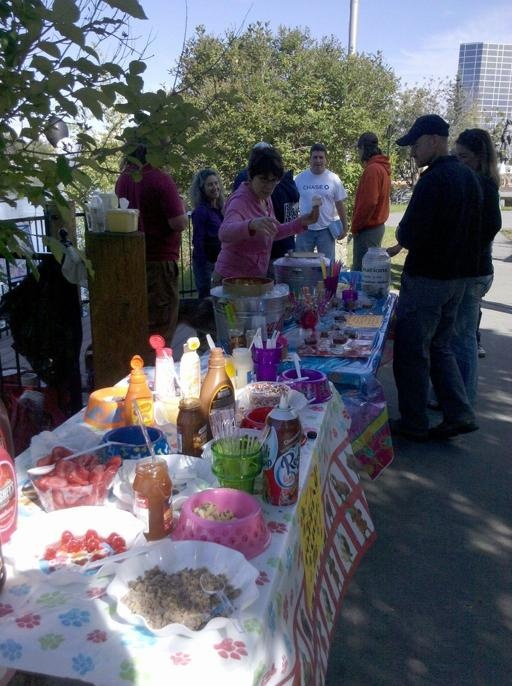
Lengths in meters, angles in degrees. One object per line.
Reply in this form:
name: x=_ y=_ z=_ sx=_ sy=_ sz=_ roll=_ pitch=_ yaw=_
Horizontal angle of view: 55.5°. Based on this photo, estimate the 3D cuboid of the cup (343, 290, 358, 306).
cup: x=0.669 y=-0.325 z=3.530 sx=0.114 sy=0.128 sz=0.113 roll=2 pitch=7 yaw=0

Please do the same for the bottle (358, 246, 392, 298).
bottle: x=0.946 y=-0.560 z=3.835 sx=0.218 sy=0.369 sz=0.217 roll=-2 pitch=21 yaw=1

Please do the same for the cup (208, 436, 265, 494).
cup: x=-0.049 y=0.282 z=1.138 sx=0.132 sy=0.136 sz=0.129 roll=-1 pitch=4 yaw=0

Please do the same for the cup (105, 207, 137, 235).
cup: x=-0.708 y=-0.642 z=2.564 sx=0.159 sy=0.134 sz=0.163 roll=1 pitch=11 yaw=0

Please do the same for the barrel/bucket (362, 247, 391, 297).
barrel/bucket: x=0.939 y=-0.557 z=3.846 sx=0.280 sy=0.379 sz=0.273 roll=-2 pitch=12 yaw=0

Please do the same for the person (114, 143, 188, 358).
person: x=-0.745 y=-0.600 z=3.695 sx=0.441 sy=1.362 sz=0.545 roll=-5 pitch=13 yaw=-27

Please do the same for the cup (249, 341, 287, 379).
cup: x=0.052 y=0.072 z=2.010 sx=0.138 sy=0.153 sz=0.140 roll=0 pitch=4 yaw=0

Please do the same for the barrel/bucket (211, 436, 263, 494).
barrel/bucket: x=-0.053 y=0.269 z=1.166 sx=0.132 sy=0.136 sz=0.129 roll=-1 pitch=6 yaw=0

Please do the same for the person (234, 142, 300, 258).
person: x=0.166 y=-1.427 z=5.327 sx=0.553 sy=0.970 sz=0.892 roll=5 pitch=-23 yaw=7

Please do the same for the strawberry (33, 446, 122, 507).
strawberry: x=-0.404 y=0.294 z=1.145 sx=0.132 sy=0.065 sz=0.141 roll=-2 pitch=4 yaw=5

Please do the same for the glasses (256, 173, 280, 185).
glasses: x=0.068 y=-1.029 z=3.088 sx=0.168 sy=0.086 sz=0.147 roll=0 pitch=11 yaw=-6

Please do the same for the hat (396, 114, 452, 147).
hat: x=1.174 y=-1.512 z=3.469 sx=0.368 sy=0.205 sz=0.299 roll=8 pitch=13 yaw=34

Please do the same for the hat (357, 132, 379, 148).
hat: x=1.447 y=-2.656 z=6.340 sx=0.202 sy=0.159 sz=0.257 roll=-2 pitch=24 yaw=-3

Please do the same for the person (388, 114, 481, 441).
person: x=1.283 y=-0.274 z=3.456 sx=0.597 sy=2.015 sz=0.322 roll=-1 pitch=12 yaw=-9

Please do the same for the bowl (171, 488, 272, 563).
bowl: x=-0.072 y=0.368 z=1.026 sx=0.217 sy=0.070 sz=0.214 roll=4 pitch=6 yaw=0

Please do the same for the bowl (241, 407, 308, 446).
bowl: x=0.040 y=0.215 z=1.250 sx=0.149 sy=0.080 sz=0.147 roll=0 pitch=2 yaw=0

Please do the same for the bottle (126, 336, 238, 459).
bottle: x=-0.230 y=0.129 z=1.520 sx=0.382 sy=0.383 sz=0.256 roll=7 pitch=16 yaw=28

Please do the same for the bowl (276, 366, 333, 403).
bowl: x=0.182 y=0.150 z=1.850 sx=0.142 sy=0.052 sz=0.144 roll=1 pitch=16 yaw=0

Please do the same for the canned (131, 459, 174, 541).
canned: x=-0.219 y=0.334 z=1.038 sx=0.085 sy=0.145 sz=0.085 roll=-2 pitch=-1 yaw=4

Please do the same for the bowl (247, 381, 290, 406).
bowl: x=0.031 y=0.151 z=1.621 sx=0.092 sy=0.069 sz=0.099 roll=1 pitch=7 yaw=0

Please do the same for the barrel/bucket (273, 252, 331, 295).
barrel/bucket: x=0.303 y=-0.522 z=3.386 sx=0.338 sy=0.310 sz=0.330 roll=-1 pitch=12 yaw=0

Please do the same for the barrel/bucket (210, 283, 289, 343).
barrel/bucket: x=-0.027 y=-0.128 z=2.658 sx=0.380 sy=0.311 sz=0.407 roll=-2 pitch=17 yaw=1

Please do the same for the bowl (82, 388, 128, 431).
bowl: x=-0.478 y=0.205 z=1.579 sx=0.141 sy=0.063 sz=0.139 roll=1 pitch=17 yaw=0

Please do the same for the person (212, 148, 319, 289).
person: x=0.068 y=-0.852 z=3.188 sx=0.684 sy=0.974 sz=0.967 roll=0 pitch=11 yaw=-5
